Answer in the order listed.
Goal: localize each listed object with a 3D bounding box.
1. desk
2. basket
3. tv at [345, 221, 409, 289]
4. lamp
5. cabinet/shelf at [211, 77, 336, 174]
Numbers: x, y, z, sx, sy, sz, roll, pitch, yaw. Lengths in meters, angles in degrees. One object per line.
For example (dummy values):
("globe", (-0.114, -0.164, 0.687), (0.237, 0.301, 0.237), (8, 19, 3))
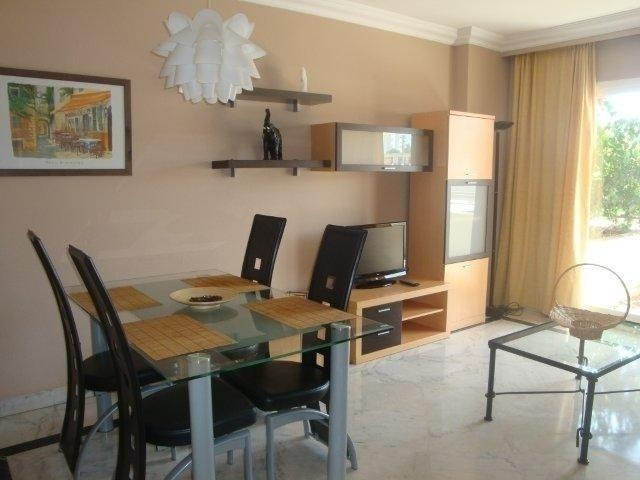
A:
("desk", (-0.533, 0.789, 2.934), (1.156, 0.874, 1.421), (-10, 17, -36))
("basket", (2.505, 0.546, 4.576), (0.523, 0.552, 0.388), (11, 16, 39))
("tv", (0.491, 0.135, 4.349), (0.610, 0.422, 0.169), (-9, 17, -31))
("lamp", (-0.528, -0.926, 2.608), (0.532, 0.372, 0.517), (2, 14, 12))
("cabinet/shelf", (-0.413, -0.930, 4.116), (0.904, 0.613, 0.304), (-5, 16, -33))
